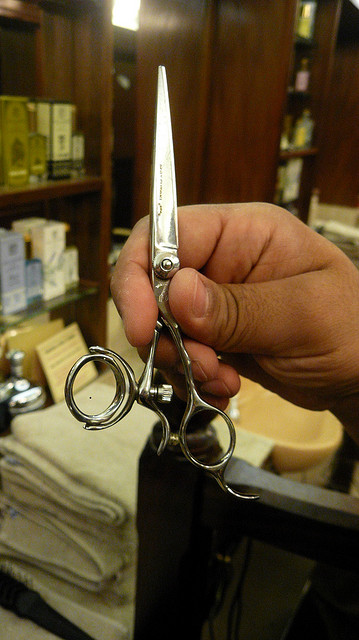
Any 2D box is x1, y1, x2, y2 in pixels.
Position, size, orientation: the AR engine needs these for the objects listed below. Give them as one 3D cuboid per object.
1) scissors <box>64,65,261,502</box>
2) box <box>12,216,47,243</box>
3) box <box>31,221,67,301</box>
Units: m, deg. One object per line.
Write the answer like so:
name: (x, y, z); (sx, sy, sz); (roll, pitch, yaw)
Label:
scissors: (-0.014, -0.006, 0.323); (0.104, 0.020, 0.288); (6, 45, -7)
box: (-0.237, -0.147, 0.757); (0.026, 0.036, 0.050); (18, 28, 28)
box: (-0.246, -0.111, 0.871); (0.041, 0.134, 0.054); (10, 19, 16)
